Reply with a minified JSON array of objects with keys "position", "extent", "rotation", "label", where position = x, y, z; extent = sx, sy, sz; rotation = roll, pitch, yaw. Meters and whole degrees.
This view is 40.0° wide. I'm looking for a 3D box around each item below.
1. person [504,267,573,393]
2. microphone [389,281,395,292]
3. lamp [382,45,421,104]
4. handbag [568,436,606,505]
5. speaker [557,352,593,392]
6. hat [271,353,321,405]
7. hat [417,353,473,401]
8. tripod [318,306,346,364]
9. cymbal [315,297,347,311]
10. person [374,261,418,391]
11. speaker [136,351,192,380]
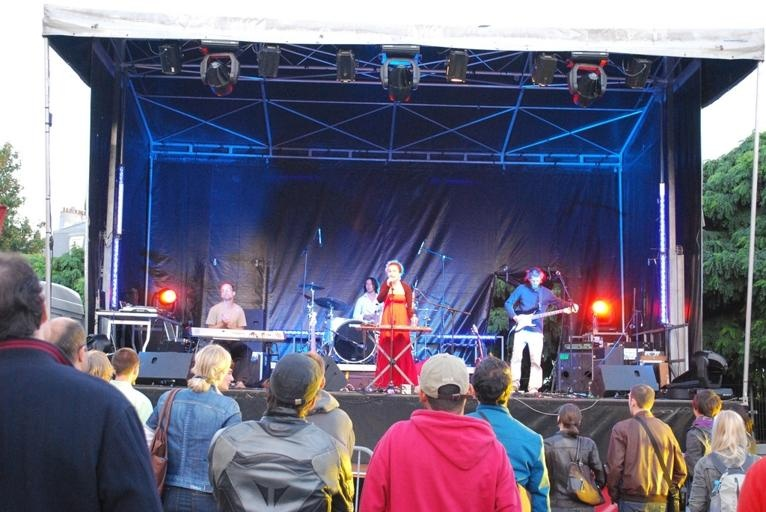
[{"position":[2.727,1.152,19.265],"extent":[1.081,2.460,1.013],"rotation":[6,5,12],"label":"person"},{"position":[0.115,0.472,17.136],"extent":[0.061,0.127,0.075],"rotation":[-3,2,2],"label":"microphone"},{"position":[0.265,-3.049,17.415],"extent":[0.901,1.431,0.654],"rotation":[0,13,-1],"label":"lamp"},{"position":[2.488,2.675,13.267],"extent":[0.417,0.817,0.659],"rotation":[1,2,3],"label":"handbag"},{"position":[3.274,1.973,18.070],"extent":[0.574,0.894,0.617],"rotation":[0,-4,7],"label":"speaker"},{"position":[-0.995,1.359,11.691],"extent":[0.479,0.568,0.298],"rotation":[1,-2,0],"label":"hat"},{"position":[0.659,1.348,11.851],"extent":[0.490,0.479,0.333],"rotation":[3,0,-1],"label":"hat"},{"position":[-1.034,1.453,19.612],"extent":[0.866,1.000,0.794],"rotation":[2,3,4],"label":"tripod"},{"position":[-1.002,0.846,19.386],"extent":[0.540,0.207,0.413],"rotation":[5,-10,-2],"label":"cymbal"},{"position":[0.163,1.133,17.131],"extent":[0.673,2.086,0.629],"rotation":[1,4,6],"label":"person"},{"position":[-3.260,1.440,15.578],"extent":[0.927,0.565,0.340],"rotation":[-2,-10,4],"label":"speaker"}]
